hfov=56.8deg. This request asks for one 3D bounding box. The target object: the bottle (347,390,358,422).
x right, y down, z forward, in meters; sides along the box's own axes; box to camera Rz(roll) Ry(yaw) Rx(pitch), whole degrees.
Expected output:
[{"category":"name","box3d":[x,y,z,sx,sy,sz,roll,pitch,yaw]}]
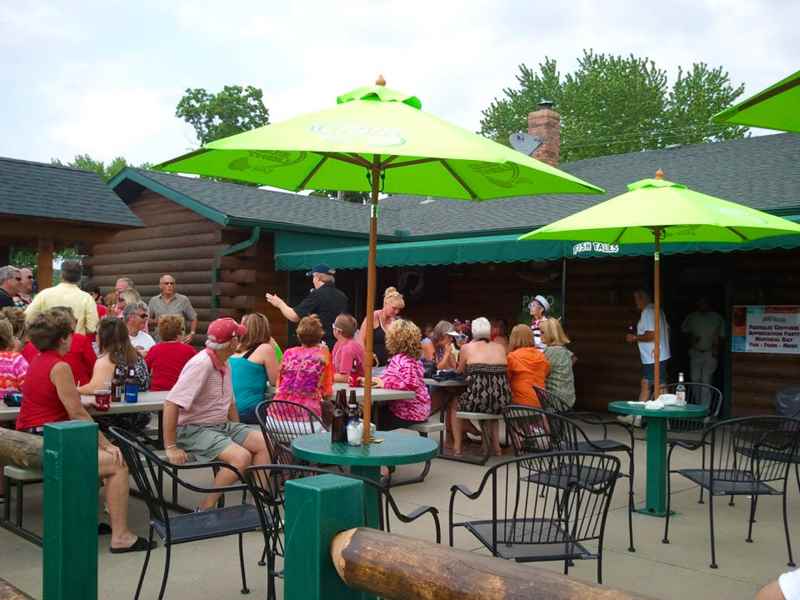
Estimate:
[{"category":"bottle","box3d":[-0.313,0.701,4.945,0.065,0.198,0.225,0,1,-4]}]

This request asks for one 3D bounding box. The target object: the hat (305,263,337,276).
[{"category":"hat","box3d":[-0.993,-0.329,8.621,0.462,0.160,0.297,-3,-2,44]}]

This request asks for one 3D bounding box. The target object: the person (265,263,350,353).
[{"category":"person","box3d":[-1.021,0.197,8.722,0.716,1.208,1.001,13,19,23]}]

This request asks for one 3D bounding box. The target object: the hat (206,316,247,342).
[{"category":"hat","box3d":[-1.373,0.232,5.844,0.177,0.139,0.256,30,33,34]}]

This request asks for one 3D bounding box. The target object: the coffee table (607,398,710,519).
[{"category":"coffee table","box3d":[2.196,1.408,6.730,1.030,0.978,0.995,0,-1,-9]}]

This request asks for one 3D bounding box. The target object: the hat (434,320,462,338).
[{"category":"hat","box3d":[0.590,0.387,9.354,0.340,0.185,0.199,-2,0,19]}]

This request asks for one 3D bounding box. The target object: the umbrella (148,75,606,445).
[{"category":"umbrella","box3d":[-0.115,-0.450,5.615,2.943,1.837,2.631,2,-3,14]}]

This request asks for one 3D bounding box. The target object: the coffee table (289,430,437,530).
[{"category":"coffee table","box3d":[-0.245,1.125,4.827,0.680,0.435,0.631,1,-4,-3]}]

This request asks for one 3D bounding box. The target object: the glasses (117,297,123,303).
[{"category":"glasses","box3d":[-3.925,0.014,10.321,0.065,0.038,0.079,-1,-21,-12]}]

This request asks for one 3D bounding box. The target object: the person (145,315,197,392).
[{"category":"person","box3d":[-2.270,0.537,7.331,0.619,0.734,0.469,4,7,-23]}]

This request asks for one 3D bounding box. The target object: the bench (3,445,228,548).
[{"category":"bench","box3d":[-2.341,1.437,5.546,1.347,0.447,1.321,6,-2,-43]}]
